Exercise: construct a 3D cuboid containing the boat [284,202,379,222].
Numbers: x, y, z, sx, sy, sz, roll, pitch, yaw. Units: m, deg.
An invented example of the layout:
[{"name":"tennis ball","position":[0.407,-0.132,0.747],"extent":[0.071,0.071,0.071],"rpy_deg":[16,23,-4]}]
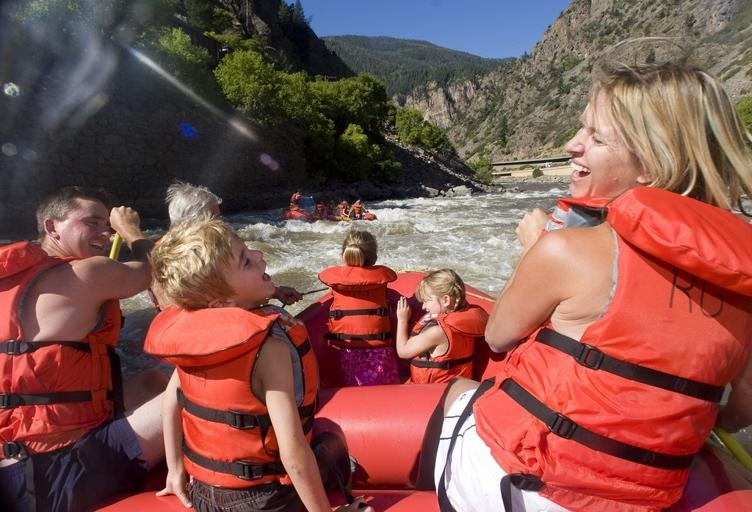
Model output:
[{"name":"boat","position":[-1.388,-1.116,14.394],"extent":[2.006,0.375,0.986],"rpy_deg":[1,-1,-20]}]
